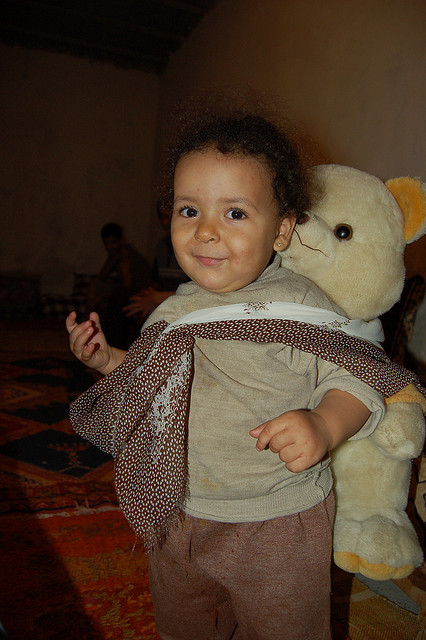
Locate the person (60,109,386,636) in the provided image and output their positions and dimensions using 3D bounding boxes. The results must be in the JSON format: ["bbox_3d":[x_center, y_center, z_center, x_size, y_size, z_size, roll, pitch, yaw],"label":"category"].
[{"bbox_3d":[0.042,0.094,1.041,0.487,0.941,0.396,9,15,39],"label":"person"}]

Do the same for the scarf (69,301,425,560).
[{"bbox_3d":[0.068,0.212,1.036,0.820,0.445,0.134,-4,-7,11],"label":"scarf"}]
